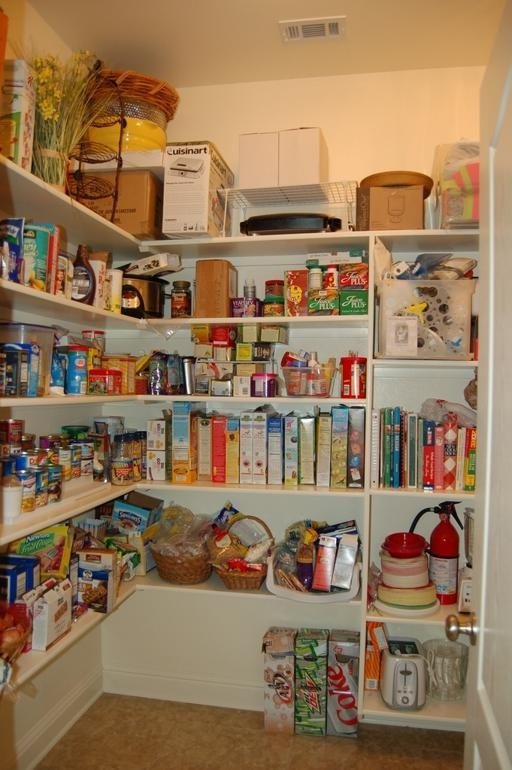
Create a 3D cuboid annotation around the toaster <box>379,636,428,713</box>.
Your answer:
[{"bbox_3d":[0.525,1.036,2.085,0.159,0.175,0.279,3,-7,6],"label":"toaster"}]

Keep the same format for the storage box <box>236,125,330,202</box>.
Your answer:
[{"bbox_3d":[0.085,-0.820,2.109,0.247,0.162,0.256,1,4,15],"label":"storage box"}]

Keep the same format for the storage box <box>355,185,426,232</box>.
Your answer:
[{"bbox_3d":[0.467,-0.593,2.035,0.271,0.156,0.179,1,-2,12],"label":"storage box"}]

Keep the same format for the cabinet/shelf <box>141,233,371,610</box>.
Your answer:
[{"bbox_3d":[0.132,0.072,2.842,0.848,1.680,1.641,1,7,11],"label":"cabinet/shelf"}]

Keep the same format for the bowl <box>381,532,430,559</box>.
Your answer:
[{"bbox_3d":[0.531,0.574,2.092,0.145,0.079,0.185,-3,-5,31],"label":"bowl"}]

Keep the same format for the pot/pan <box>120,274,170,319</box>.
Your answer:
[{"bbox_3d":[-0.414,-0.333,2.200,0.127,0.122,0.162,2,3,44],"label":"pot/pan"}]

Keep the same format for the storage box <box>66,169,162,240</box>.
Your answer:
[{"bbox_3d":[-0.488,-0.670,2.109,0.251,0.175,0.260,3,8,3],"label":"storage box"}]

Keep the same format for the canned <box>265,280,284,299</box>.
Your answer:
[{"bbox_3d":[0.070,-0.363,2.207,0.061,0.087,0.068,3,5,21],"label":"canned"}]

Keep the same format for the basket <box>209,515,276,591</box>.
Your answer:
[{"bbox_3d":[-0.043,0.626,2.166,0.201,0.240,0.275,1,-18,2],"label":"basket"}]

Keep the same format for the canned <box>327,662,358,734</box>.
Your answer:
[{"bbox_3d":[0.302,1.129,2.078,0.100,0.272,0.061,-1,-5,5],"label":"canned"}]
